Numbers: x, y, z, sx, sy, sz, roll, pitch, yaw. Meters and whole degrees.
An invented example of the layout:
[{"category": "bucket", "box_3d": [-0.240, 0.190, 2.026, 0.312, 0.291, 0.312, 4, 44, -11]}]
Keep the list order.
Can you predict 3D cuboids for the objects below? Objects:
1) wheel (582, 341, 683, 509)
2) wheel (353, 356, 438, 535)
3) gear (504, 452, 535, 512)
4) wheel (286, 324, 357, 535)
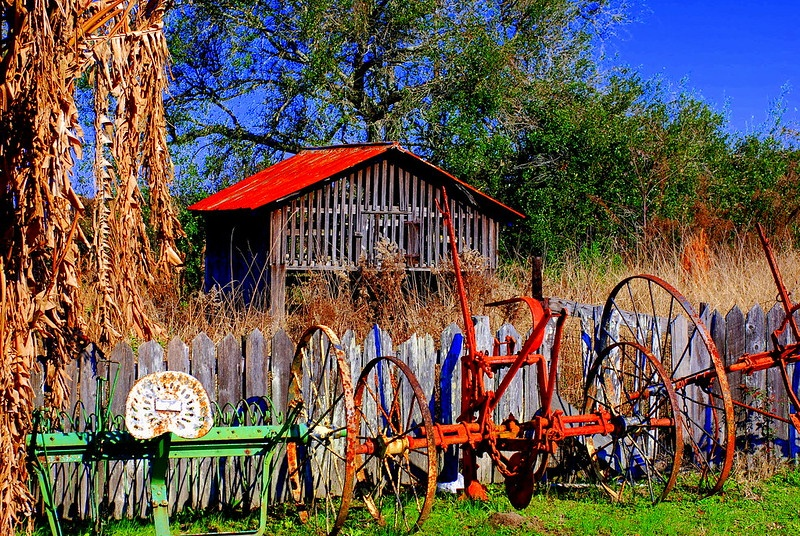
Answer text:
[{"category": "wheel", "box_3d": [2.616, 1.798, 14.700, 0.353, 1.848, 1.679, -2, -22, -30]}, {"category": "wheel", "box_3d": [-0.088, 1.996, 14.167, 1.002, 1.258, 1.247, -2, -39, -25]}, {"category": "gear", "box_3d": [1.320, 2.337, 14.048, 0.271, 0.593, 0.555, 4, -13, -11]}, {"category": "wheel", "box_3d": [-0.863, 1.730, 13.998, 0.756, 2.350, 1.328, 3, -12, -6]}]
